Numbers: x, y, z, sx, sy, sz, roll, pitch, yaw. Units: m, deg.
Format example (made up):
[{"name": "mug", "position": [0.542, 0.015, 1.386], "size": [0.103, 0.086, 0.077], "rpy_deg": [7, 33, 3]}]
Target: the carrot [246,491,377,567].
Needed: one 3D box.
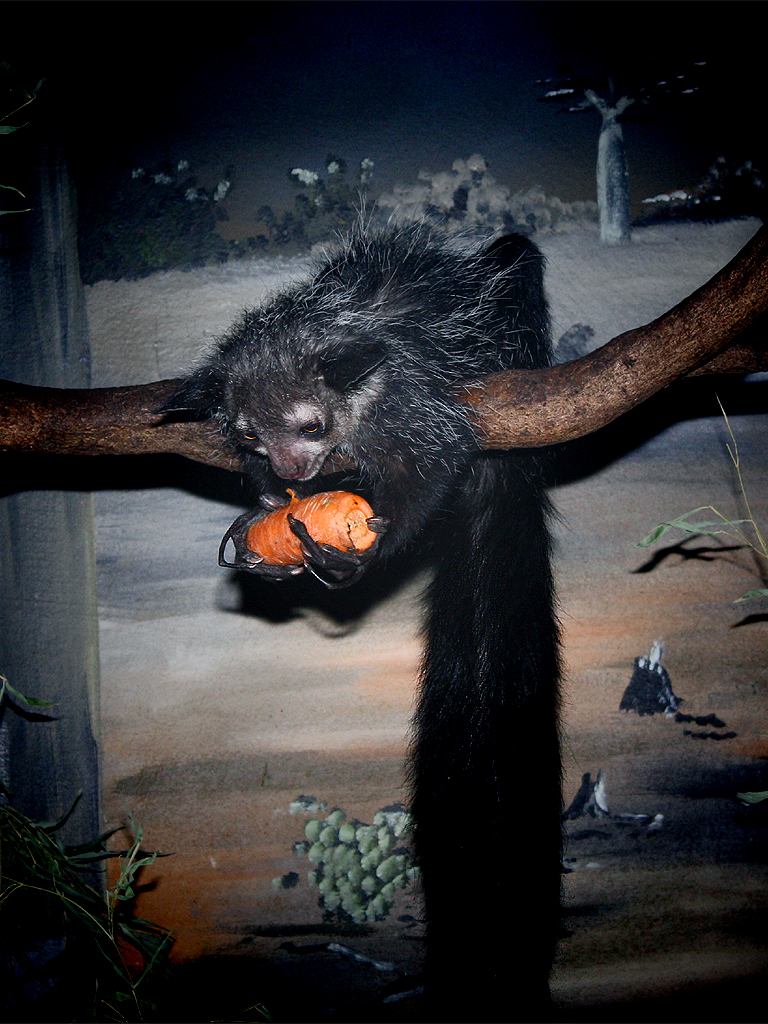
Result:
[{"name": "carrot", "position": [-0.144, 0.034, 2.014], "size": [0.200, 0.146, 0.239], "rpy_deg": [-2, 5, -18]}]

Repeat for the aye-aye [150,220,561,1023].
[{"name": "aye-aye", "position": [0.012, 0.227, 2.164], "size": [0.718, 1.666, 0.466], "rpy_deg": [-1, 5, 0]}]
